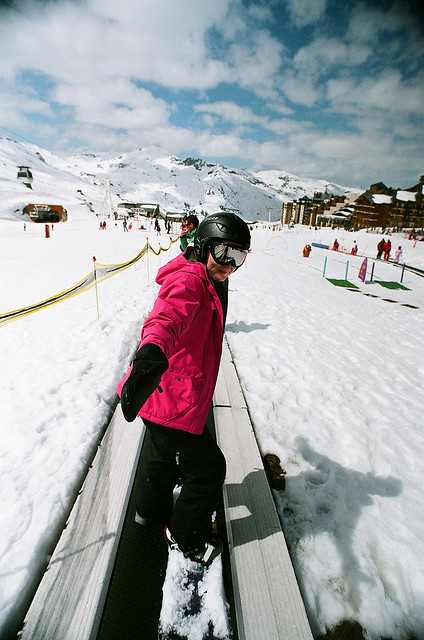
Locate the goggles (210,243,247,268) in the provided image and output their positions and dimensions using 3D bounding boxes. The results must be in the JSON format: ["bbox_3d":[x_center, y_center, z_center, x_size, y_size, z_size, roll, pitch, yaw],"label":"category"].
[{"bbox_3d":[0.077,-0.340,1.593,0.141,0.048,0.141,7,13,-44],"label":"goggles"}]
